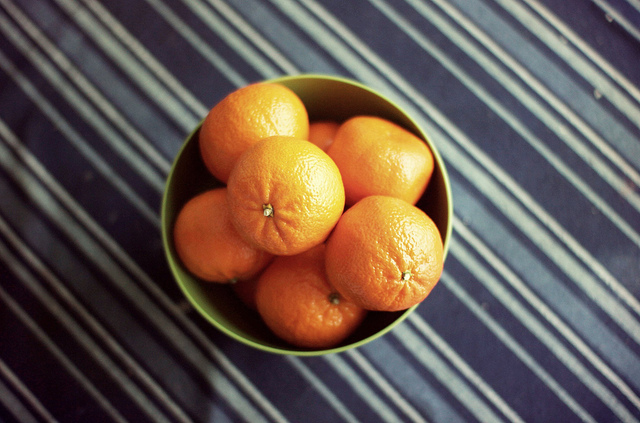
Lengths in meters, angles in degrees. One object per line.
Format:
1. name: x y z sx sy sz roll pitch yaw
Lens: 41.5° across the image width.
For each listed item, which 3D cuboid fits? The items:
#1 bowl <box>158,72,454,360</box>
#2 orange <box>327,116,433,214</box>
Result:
1. bowl: -0.032 0.034 1.655 0.472 0.236 0.597 -1 91 0
2. orange: 0.124 -0.100 1.738 0.175 0.175 0.198 22 77 7
